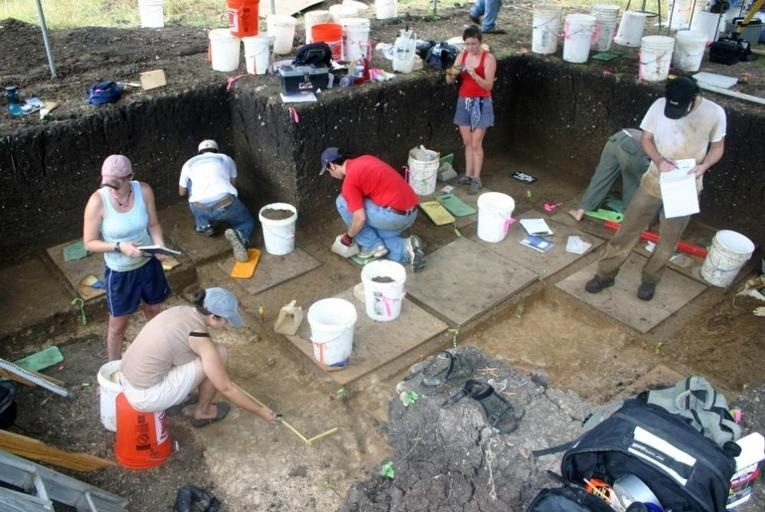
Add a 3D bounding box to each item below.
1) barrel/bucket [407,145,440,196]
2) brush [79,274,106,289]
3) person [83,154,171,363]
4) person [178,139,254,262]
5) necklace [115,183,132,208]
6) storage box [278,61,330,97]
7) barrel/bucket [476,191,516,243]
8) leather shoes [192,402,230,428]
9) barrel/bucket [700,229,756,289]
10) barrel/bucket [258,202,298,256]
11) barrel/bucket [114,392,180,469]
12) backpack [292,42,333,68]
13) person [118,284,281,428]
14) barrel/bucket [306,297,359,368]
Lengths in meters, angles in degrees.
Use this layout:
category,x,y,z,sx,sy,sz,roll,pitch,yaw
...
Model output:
category,x,y,z,sx,sy,sz,roll,pitch,yaw
barrel/bucket,0.551,-1.158,8.242,0.618,0.756,0.627,-1,36,0
brush,-3.336,0.295,6.687,0.207,0.051,0.200,0,34,-12
person,-2.482,-0.123,5.849,0.849,2.035,0.819,-15,24,-37
person,-2.046,-0.814,7.305,0.795,0.852,1.664,-8,53,-14
necklace,-2.455,-0.574,5.489,0.157,0.212,0.071,-5,17,-30
storage box,-0.999,-2.201,7.160,0.631,0.377,0.410,-13,44,-20
barrel/bucket,1.441,-0.490,7.456,0.446,0.487,0.469,-2,35,1
leather shoes,-1.691,1.568,5.737,0.338,0.096,0.172,-22,53,-24
barrel/bucket,4.123,0.054,6.896,0.454,0.478,0.444,9,45,-9
barrel/bucket,-1.286,-0.338,7.252,0.443,0.513,0.452,-2,35,1
barrel/bucket,-2.066,1.575,5.557,0.680,0.652,0.596,3,23,1
backpack,-0.875,-2.538,7.358,0.476,0.196,0.331,-10,31,-19
person,-1.816,0.971,5.395,1.113,0.927,1.433,13,49,-14
barrel/bucket,-0.509,0.783,5.981,0.475,0.549,0.475,-2,36,1
